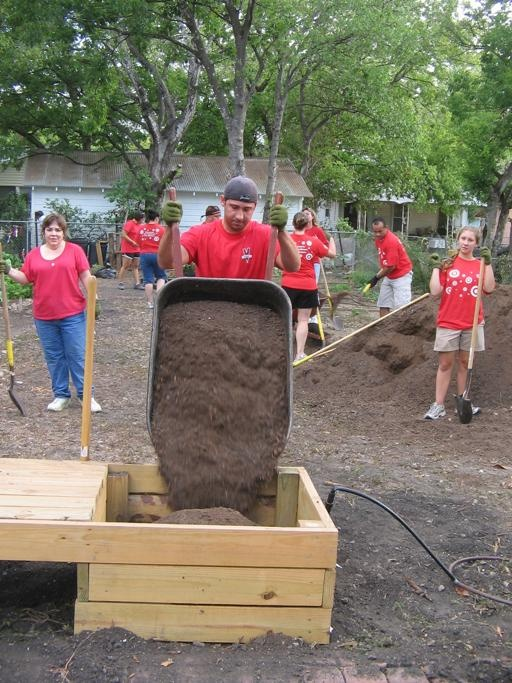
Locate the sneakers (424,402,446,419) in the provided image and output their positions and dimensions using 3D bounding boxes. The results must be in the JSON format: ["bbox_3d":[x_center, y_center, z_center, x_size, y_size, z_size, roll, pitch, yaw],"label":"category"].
[{"bbox_3d":[1.584,0.631,5.473,0.097,0.104,0.240,0,-3,32],"label":"sneakers"}]

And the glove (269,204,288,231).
[{"bbox_3d":[0.111,-0.603,3.007,0.092,0.110,0.045,-8,10,-30],"label":"glove"}]

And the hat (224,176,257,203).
[{"bbox_3d":[-0.074,-0.734,3.063,0.131,0.097,0.155,5,38,-19],"label":"hat"}]

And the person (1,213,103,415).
[{"bbox_3d":[-1.689,-0.181,5.209,0.635,1.755,0.639,-6,13,-38],"label":"person"}]

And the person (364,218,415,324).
[{"bbox_3d":[1.841,-0.980,8.524,0.624,1.361,1.303,5,10,13],"label":"person"}]

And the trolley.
[{"bbox_3d":[-0.140,-0.120,3.174,0.745,1.404,0.638,1,10,-5],"label":"trolley"}]

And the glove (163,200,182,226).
[{"bbox_3d":[-0.411,-0.630,3.059,0.106,0.122,0.056,7,-3,4],"label":"glove"}]

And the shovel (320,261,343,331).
[{"bbox_3d":[1.213,-0.719,10.325,0.110,1.302,0.506,-16,18,-12],"label":"shovel"}]
